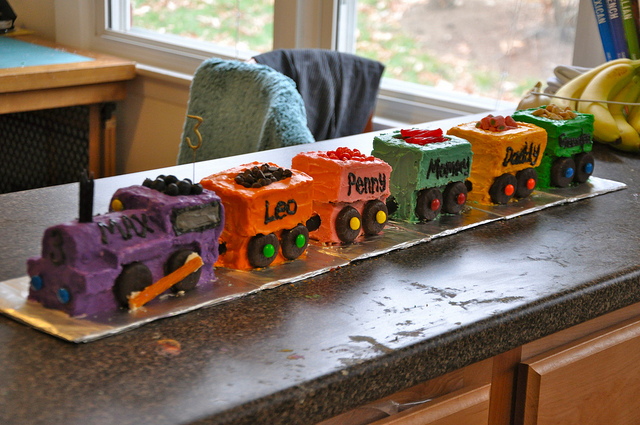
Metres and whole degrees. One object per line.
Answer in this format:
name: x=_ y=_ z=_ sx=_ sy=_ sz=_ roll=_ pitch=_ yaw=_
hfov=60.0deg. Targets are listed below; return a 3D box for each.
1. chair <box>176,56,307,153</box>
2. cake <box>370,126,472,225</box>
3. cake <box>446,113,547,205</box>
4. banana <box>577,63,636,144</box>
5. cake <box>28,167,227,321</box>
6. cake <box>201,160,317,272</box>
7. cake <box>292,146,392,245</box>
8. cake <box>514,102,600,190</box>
chair: x=-0.284 y=-0.355 z=1.893 sx=0.391 sy=0.161 sz=0.518 roll=-12 pitch=23 yaw=-36
cake: x=0.196 y=-0.074 z=1.090 sx=0.182 sy=0.140 sz=0.183 roll=7 pitch=16 yaw=37
cake: x=0.362 y=-0.116 z=1.212 sx=0.197 sy=0.173 sz=0.190 roll=-15 pitch=23 yaw=-39
banana: x=0.753 y=-0.281 z=1.452 sx=0.159 sy=0.070 sz=0.225 roll=24 pitch=55 yaw=-7
cake: x=-0.274 y=0.034 z=0.785 sx=0.144 sy=0.156 sz=0.251 roll=12 pitch=17 yaw=34
cake: x=-0.105 y=0.001 z=0.898 sx=0.149 sy=0.132 sz=0.165 roll=14 pitch=20 yaw=26
cake: x=0.032 y=-0.036 z=0.991 sx=0.175 sy=0.146 sz=0.146 roll=-8 pitch=17 yaw=-41
cake: x=0.523 y=-0.150 z=1.251 sx=0.153 sy=0.156 sz=0.174 roll=14 pitch=25 yaw=38
